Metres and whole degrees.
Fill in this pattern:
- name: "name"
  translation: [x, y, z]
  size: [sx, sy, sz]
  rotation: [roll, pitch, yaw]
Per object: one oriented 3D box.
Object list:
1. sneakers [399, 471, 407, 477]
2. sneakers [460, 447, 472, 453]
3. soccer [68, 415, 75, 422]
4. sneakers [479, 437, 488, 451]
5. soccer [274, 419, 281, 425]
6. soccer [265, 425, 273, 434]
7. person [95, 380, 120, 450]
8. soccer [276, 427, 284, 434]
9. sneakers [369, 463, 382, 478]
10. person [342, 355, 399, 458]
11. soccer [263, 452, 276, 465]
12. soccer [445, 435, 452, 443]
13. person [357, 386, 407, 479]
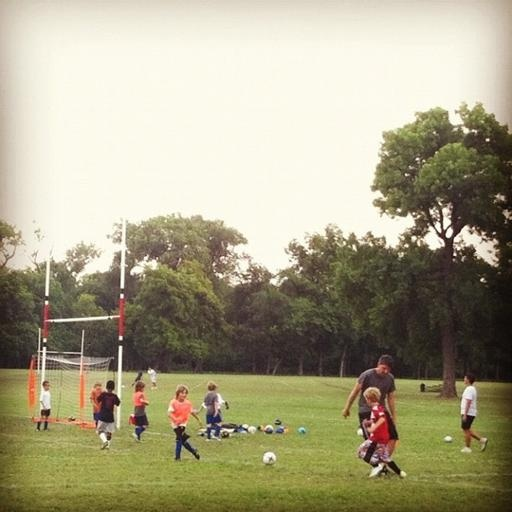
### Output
- name: "sneakers"
  translation: [2.754, 4.109, 13.808]
  size: [0.111, 0.147, 0.132]
  rotation: [1, 0, 1]
- name: "sneakers"
  translation: [4.877, 4.538, 17.105]
  size: [0.122, 0.208, 0.244]
  rotation: [8, -6, -44]
- name: "soccer"
  translation: [-5.374, 4.790, 21.466]
  size: [0.281, 0.144, 0.089]
  rotation: [3, -5, -43]
- name: "sneakers"
  translation: [5.371, 4.484, 17.405]
  size: [0.116, 0.361, 0.113]
  rotation: [15, 24, 27]
- name: "soccer"
  translation: [0.613, 4.781, 21.054]
  size: [0.135, 0.124, 0.161]
  rotation: [0, 0, 2]
- name: "soccer"
  translation: [0.362, 4.662, 19.709]
  size: [0.160, 0.220, 0.184]
  rotation: [10, -42, -33]
- name: "person"
  translation: [-3.341, 3.553, 16.451]
  size: [0.413, 1.522, 0.679]
  rotation: [4, -9, 3]
- name: "soccer"
  translation: [0.635, 4.727, 19.865]
  size: [0.250, 0.142, 0.508]
  rotation: [1, -9, -2]
- name: "sneakers"
  translation: [2.256, 4.058, 13.855]
  size: [0.142, 0.392, 0.116]
  rotation: [24, 1, -23]
- name: "person"
  translation: [2.232, 2.974, 14.007]
  size: [0.821, 2.366, 0.576]
  rotation: [4, 8, 15]
- name: "soccer"
  translation: [0.264, 4.165, 15.039]
  size: [0.183, 0.255, 0.215]
  rotation: [-3, -10, -8]
- name: "soccer"
  translation: [4.891, 4.695, 18.732]
  size: [0.140, 0.111, 0.168]
  rotation: [0, -2, 9]
- name: "person"
  translation: [2.256, 3.309, 13.629]
  size: [0.573, 1.721, 0.864]
  rotation: [-3, -7, 35]
